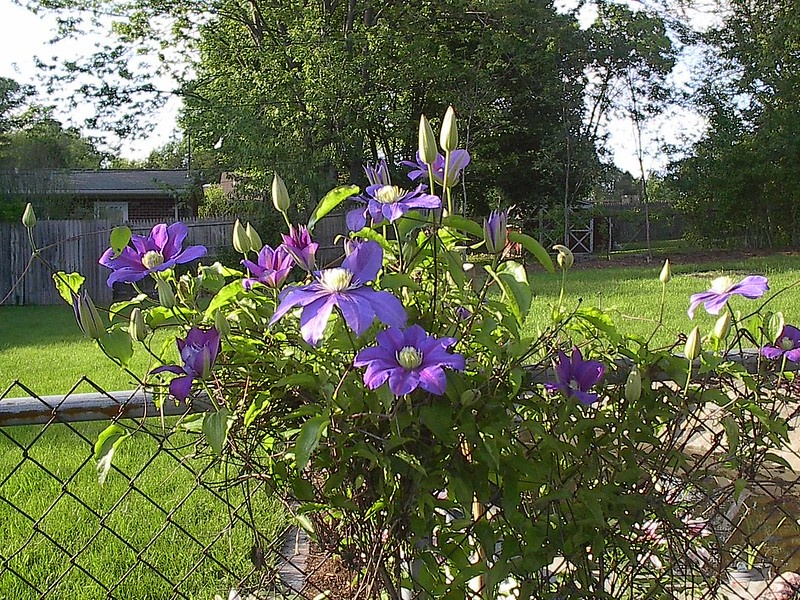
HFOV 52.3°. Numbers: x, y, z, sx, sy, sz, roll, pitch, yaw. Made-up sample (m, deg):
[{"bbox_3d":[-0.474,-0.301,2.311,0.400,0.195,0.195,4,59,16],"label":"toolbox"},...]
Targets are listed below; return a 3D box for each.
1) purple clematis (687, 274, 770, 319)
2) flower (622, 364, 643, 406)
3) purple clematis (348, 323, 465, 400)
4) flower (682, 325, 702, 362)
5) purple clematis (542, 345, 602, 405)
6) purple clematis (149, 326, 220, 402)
[{"bbox_3d":[1.012,0.040,2.521,0.175,0.104,0.176,-33,17,-17],"label":"purple clematis"},{"bbox_3d":[0.670,0.242,2.349,0.043,0.115,0.078,-3,3,-3],"label":"flower"},{"bbox_3d":[0.024,0.173,2.200,0.260,0.076,0.309,-3,24,-1],"label":"purple clematis"},{"bbox_3d":[0.876,0.130,2.449,0.046,0.111,0.190,-2,4,20],"label":"flower"},{"bbox_3d":[0.517,0.223,2.403,0.175,0.178,0.170,-3,3,11],"label":"purple clematis"},{"bbox_3d":[-0.575,0.179,2.234,0.193,0.143,0.138,-28,39,-33],"label":"purple clematis"}]
